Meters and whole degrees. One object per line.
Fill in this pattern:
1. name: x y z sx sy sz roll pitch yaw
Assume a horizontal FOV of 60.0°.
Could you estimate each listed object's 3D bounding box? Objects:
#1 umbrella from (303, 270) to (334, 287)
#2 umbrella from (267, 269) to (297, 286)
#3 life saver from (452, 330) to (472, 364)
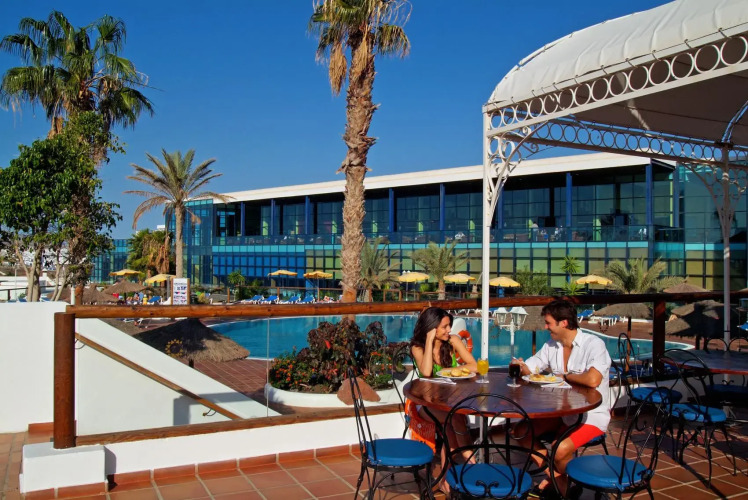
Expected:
1. umbrella: -3.424 1.779 39.414 1.174 0.856 1.170 0 7 -30
2. umbrella: -5.925 1.599 41.567 1.095 0.808 1.148 3 8 25
3. life saver: 1.169 1.266 8.591 0.082 0.351 0.326 0 11 27
